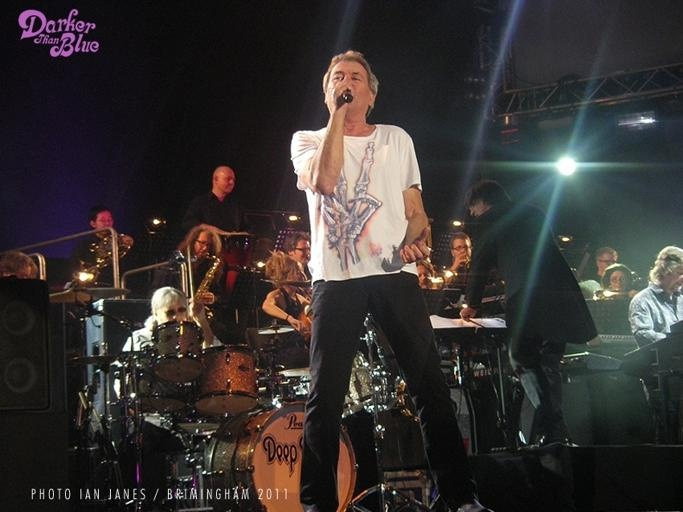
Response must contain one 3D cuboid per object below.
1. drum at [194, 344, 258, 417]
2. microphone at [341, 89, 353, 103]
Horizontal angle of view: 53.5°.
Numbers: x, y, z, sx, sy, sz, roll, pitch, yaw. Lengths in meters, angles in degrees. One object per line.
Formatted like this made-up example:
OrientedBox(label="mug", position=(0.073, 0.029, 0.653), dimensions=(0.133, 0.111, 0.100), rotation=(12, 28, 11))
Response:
OrientedBox(label="drum", position=(-1.054, 1.190, 6.558), dimensions=(0.643, 0.601, 0.641), rotation=(-10, -32, 5))
OrientedBox(label="microphone", position=(0.035, -1.016, 4.350), dimensions=(0.078, 0.075, 0.075), rotation=(2, -50, -4))
